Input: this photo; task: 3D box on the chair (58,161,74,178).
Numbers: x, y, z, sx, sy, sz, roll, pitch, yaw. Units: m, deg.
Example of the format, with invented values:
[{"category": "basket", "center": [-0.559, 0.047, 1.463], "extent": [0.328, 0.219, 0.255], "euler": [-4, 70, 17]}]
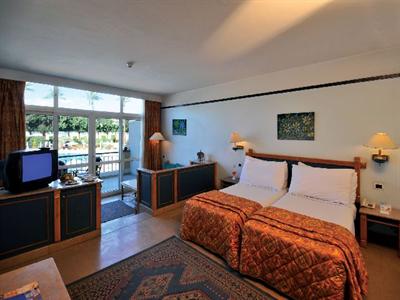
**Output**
[{"category": "chair", "center": [-3.225, 0.459, 6.164], "extent": [0.195, 0.406, 0.342], "euler": [-1, 6, -27]}]

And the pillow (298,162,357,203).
[{"category": "pillow", "center": [2.199, 0.628, 4.757], "extent": [1.046, 0.685, 0.374], "euler": [6, -6, 31]}]

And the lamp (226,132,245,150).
[{"category": "lamp", "center": [0.822, -0.173, 5.999], "extent": [0.381, 0.450, 0.363], "euler": [4, 6, 24]}]

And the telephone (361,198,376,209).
[{"category": "telephone", "center": [2.904, 0.930, 4.508], "extent": [0.157, 0.067, 0.155], "euler": [-33, 24, -34]}]

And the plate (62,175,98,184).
[{"category": "plate", "center": [-2.132, 0.531, 4.612], "extent": [0.610, 0.092, 0.430], "euler": [1, 6, -7]}]

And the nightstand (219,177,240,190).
[{"category": "nightstand", "center": [0.711, 0.754, 6.033], "extent": [0.296, 0.302, 0.307], "euler": [-9, 13, -38]}]

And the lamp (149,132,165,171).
[{"category": "lamp", "center": [-1.279, 0.066, 7.718], "extent": [0.411, 1.137, 0.718], "euler": [0, 5, -11]}]

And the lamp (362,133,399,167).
[{"category": "lamp", "center": [2.999, 0.005, 4.383], "extent": [0.494, 0.570, 0.494], "euler": [-1, 0, 39]}]

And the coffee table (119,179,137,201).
[{"category": "coffee table", "center": [-1.866, 1.043, 6.770], "extent": [0.381, 0.300, 0.595], "euler": [-3, 8, -33]}]
